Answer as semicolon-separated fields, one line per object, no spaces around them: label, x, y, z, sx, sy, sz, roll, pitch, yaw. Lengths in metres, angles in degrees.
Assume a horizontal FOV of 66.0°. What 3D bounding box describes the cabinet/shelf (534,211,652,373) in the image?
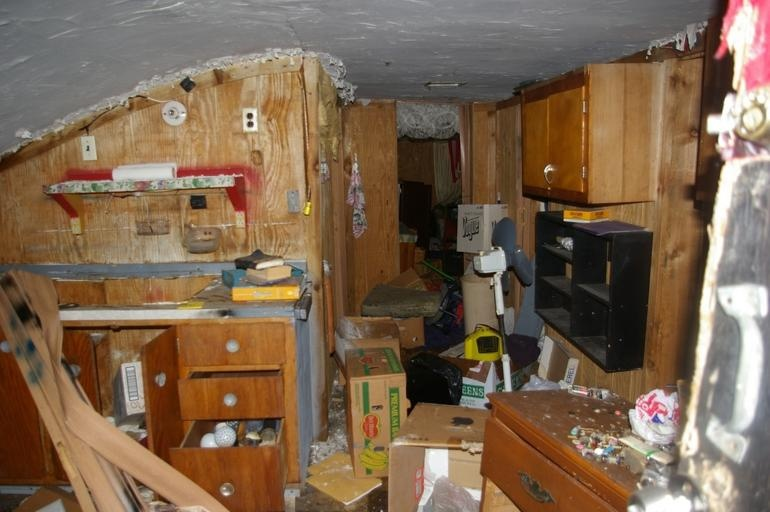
cabinet/shelf;1.175;0.147;3.481;0.260;0.748;0.822;-7;17;-12

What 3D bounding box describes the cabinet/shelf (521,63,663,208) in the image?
cabinet/shelf;1.160;-0.694;3.546;0.421;0.715;0.990;-4;10;-5

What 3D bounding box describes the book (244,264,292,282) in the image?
book;-0.612;0.090;3.122;0.227;0.081;0.115;-7;6;-14

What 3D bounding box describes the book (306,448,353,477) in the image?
book;-0.312;1.151;3.303;0.157;0.008;0.148;-10;14;-44

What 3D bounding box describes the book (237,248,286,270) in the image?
book;-0.669;0.025;3.204;0.138;0.061;0.182;5;8;22

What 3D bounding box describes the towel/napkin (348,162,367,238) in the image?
towel/napkin;-0.262;-0.522;5.300;0.156;0.735;0.202;-6;7;0
